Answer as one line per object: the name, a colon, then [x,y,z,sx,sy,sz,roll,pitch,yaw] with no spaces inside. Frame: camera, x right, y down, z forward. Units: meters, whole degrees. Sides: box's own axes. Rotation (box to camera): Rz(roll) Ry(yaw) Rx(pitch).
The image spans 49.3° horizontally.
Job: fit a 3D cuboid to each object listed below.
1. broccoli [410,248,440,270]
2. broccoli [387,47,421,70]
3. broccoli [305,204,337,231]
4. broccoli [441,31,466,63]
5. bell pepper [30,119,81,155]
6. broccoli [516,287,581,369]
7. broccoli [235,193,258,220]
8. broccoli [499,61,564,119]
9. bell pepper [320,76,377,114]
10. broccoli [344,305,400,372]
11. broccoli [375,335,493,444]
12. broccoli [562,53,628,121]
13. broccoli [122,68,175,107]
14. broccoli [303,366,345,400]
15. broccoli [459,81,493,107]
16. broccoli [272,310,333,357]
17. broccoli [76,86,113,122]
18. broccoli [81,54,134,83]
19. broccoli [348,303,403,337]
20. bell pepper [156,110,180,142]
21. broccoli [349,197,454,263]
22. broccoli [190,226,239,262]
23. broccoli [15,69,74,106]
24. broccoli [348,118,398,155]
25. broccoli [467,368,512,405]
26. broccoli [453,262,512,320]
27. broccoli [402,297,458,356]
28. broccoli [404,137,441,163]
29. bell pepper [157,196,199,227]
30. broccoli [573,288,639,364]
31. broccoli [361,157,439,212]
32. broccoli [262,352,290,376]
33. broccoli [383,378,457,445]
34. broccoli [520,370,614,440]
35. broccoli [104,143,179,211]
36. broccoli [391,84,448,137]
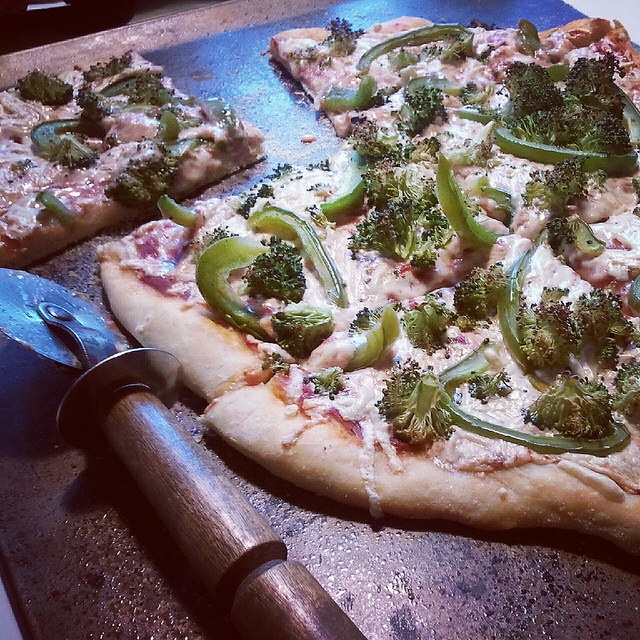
broccoli: [0.526,-0.302,3.465,0.138,0.068,0.096,4,94,-8]
broccoli: [0.594,-1.889,5.112,0.247,0.051,0.163,5,81,-3]
broccoli: [0.051,-0.556,3.822,0.218,0.076,0.077,35,32,3]
broccoli: [0.941,-1.950,5.009,0.273,0.060,0.192,-1,64,13]
bell pepper: [-1.709,-1.194,4.462,0.302,0.074,0.323,16,42,5]
broccoli: [1.032,0.054,3.160,0.258,0.232,0.310,-3,51,10]
broccoli: [-0.410,-0.647,3.951,0.092,0.021,0.191,17,40,15]
broccoli: [1.333,-1.487,4.422,0.446,0.181,0.399,0,64,13]
bell pepper: [0.189,-1.514,4.769,0.406,0.234,0.170,-9,54,4]
broccoli: [0.266,0.051,3.224,0.334,0.258,0.307,14,28,11]
broccoli: [0.511,0.296,3.029,0.323,0.170,0.528,34,46,31]
broccoli: [1.735,-1.497,4.435,0.573,0.151,0.433,18,77,16]
broccoli: [-1.186,-1.579,4.767,0.409,0.264,0.442,-9,28,-10]
broccoli: [0.025,0.283,3.106,0.186,0.043,0.151,15,52,25]
broccoli: [1.047,-1.513,4.696,0.292,0.064,0.215,1,54,14]
broccoli: [-0.067,0.055,3.248,0.273,0.192,0.169,-18,52,-3]
broccoli: [-1.478,-1.406,4.556,0.221,0.182,0.261,-20,51,-3]
broccoli: [-1.526,-1.797,5.027,0.355,0.120,0.191,-27,28,-3]
broccoli: [0.275,0.024,3.304,0.217,0.049,0.167,-30,10,16]
bell pepper: [-0.959,-1.201,4.372,0.145,0.149,0.197,-13,51,3]
broccoli: [0.424,-0.453,3.661,0.499,0.369,0.227,-8,86,-19]
broccoli: [-0.594,-0.412,3.757,0.250,0.189,0.093,1,21,-18]
broccoli: [-1.900,-1.595,4.819,0.327,0.202,0.314,-27,51,-11]
broccoli: [0.290,-1.087,4.155,0.277,0.064,0.248,-22,43,-27]
broccoli: [0.751,0.303,3.092,0.193,0.069,0.159,-3,49,8]
broccoli: [0.793,-0.166,3.385,0.270,0.131,0.283,14,62,21]
broccoli: [0.491,0.029,3.275,0.255,0.175,0.263,6,53,16]
broccoli: [0.609,-1.001,4.137,0.230,0.056,0.176,15,62,18]
bell pepper: [-0.774,-0.584,3.812,0.200,0.203,0.060,23,90,31]
broccoli: [1.261,0.035,3.230,0.334,0.172,0.324,-1,82,-14]
broccoli: [0.418,-0.717,3.834,0.500,0.167,0.385,-3,32,-8]
broccoli: [-0.204,0.207,3.187,0.127,0.032,0.110,-19,39,-25]
broccoli: [0.408,0.399,2.936,0.269,0.220,0.233,-20,52,-4]
broccoli: [1.047,0.374,2.967,0.372,0.190,0.233,-3,52,8]
broccoli: [-1.020,-0.844,4.257,0.232,0.263,0.490,18,56,24]
broccoli: [0.635,-1.315,4.436,0.293,0.197,0.334,10,53,19]
